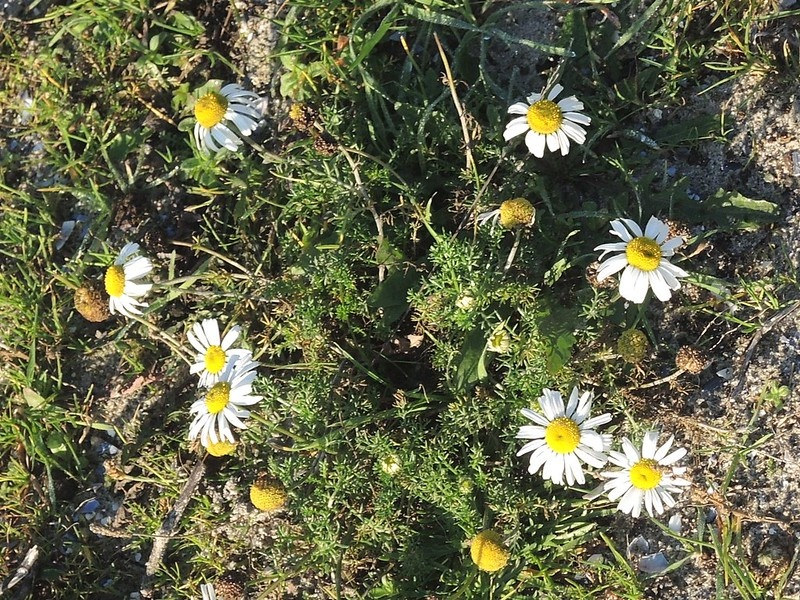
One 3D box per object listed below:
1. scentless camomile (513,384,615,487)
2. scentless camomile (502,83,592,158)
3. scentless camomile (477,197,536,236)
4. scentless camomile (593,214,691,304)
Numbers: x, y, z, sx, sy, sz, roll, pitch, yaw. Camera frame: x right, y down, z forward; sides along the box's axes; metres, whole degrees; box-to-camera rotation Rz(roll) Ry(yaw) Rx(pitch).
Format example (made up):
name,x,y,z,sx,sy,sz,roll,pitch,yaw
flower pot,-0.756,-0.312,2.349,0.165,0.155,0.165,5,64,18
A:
name,x,y,z,sx,sy,sz,roll,pitch,yaw
scentless camomile,0.703,0.563,3.231,0.427,0.089,0.446,-16,69,44
scentless camomile,0.609,-0.786,3.299,0.353,0.387,0.111,13,59,29
scentless camomile,0.448,-0.359,3.270,0.221,0.118,0.150,2,105,36
scentless camomile,0.985,-0.146,3.168,0.307,0.339,0.099,18,84,6
